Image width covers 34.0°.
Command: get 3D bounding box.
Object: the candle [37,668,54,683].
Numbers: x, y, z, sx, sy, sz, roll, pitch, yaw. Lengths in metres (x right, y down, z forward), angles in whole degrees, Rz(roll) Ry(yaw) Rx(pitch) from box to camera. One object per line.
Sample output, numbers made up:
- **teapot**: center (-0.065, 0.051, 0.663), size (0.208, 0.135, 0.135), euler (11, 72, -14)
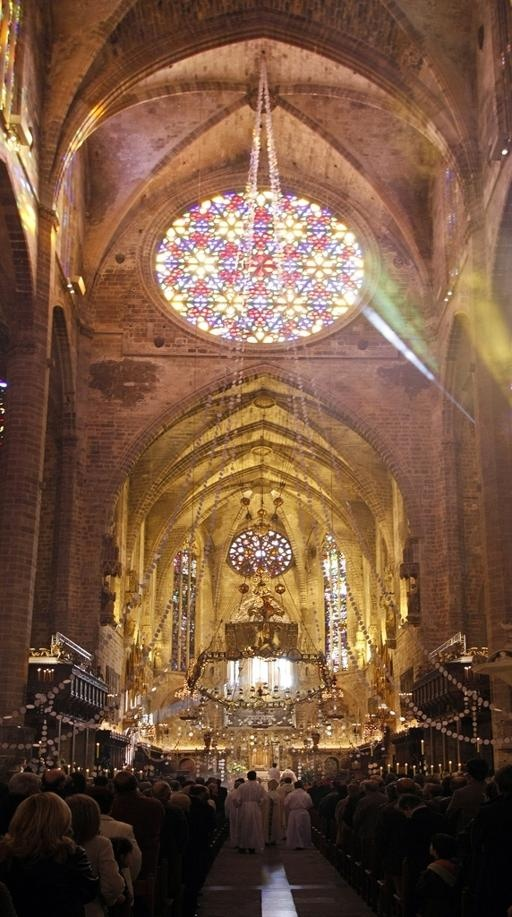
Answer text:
- **candle**: center (-4.559, 4.706, 18.063), size (0.299, 0.337, 0.300), euler (8, -16, -30)
